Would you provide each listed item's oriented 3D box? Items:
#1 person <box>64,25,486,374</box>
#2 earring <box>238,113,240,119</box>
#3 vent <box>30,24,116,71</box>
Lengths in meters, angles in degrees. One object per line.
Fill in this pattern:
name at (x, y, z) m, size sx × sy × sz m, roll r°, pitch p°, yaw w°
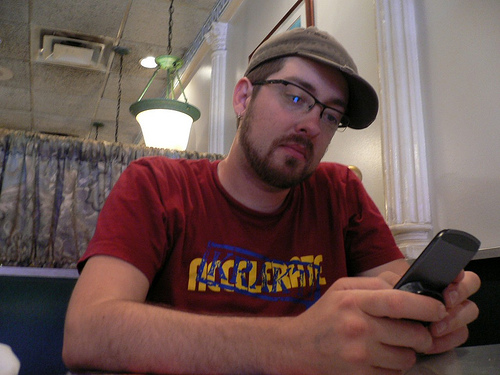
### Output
person at (0.073, -0.010, 1.190) m, size 0.959 × 0.719 × 0.746 m, roll 6°, pitch 3°, yaw -19°
earring at (-0.038, -0.238, 1.520) m, size 0.004 × 0.014 × 0.013 m, roll 3°, pitch 1°, yaw -14°
vent at (-1.880, -1.447, 4.854) m, size 0.798 × 0.314 × 0.771 m, roll 6°, pitch 4°, yaw -27°
